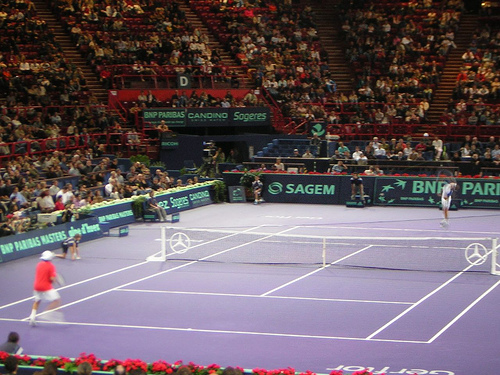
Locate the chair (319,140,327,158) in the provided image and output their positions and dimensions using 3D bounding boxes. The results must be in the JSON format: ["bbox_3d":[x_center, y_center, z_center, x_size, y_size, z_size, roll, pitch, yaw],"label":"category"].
[{"bbox_3d":[4.892,-2.626,34.726,0.598,1.131,0.295,-6,8,5],"label":"chair"}]

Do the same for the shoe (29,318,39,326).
[{"bbox_3d":[-5.739,3.570,13.708,0.203,0.253,0.159,-8,7,-21],"label":"shoe"}]

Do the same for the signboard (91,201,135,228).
[{"bbox_3d":[-6.376,1.298,24.511,1.495,0.865,3.153,8,9,34],"label":"signboard"}]

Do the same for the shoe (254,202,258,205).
[{"bbox_3d":[0.338,0.950,30.750,0.202,0.171,0.485,1,5,-7],"label":"shoe"}]

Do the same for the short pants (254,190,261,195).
[{"bbox_3d":[0.502,0.304,30.846,0.232,0.330,0.599,-3,5,25],"label":"short pants"}]

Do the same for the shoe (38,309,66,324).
[{"bbox_3d":[-5.388,3.533,14.136,0.808,0.253,0.382,-1,-3,17],"label":"shoe"}]

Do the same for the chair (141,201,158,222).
[{"bbox_3d":[-5.101,1.215,25.767,1.133,1.019,0.938,0,2,1],"label":"chair"}]

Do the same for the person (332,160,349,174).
[{"bbox_3d":[5.454,-1.232,31.245,1.048,0.560,1.050,-6,24,13],"label":"person"}]

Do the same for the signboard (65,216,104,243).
[{"bbox_3d":[-7.176,1.846,21.557,0.756,1.009,2.154,12,12,31],"label":"signboard"}]

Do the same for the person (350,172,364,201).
[{"bbox_3d":[6.035,-0.026,29.266,0.737,1.621,0.771,-7,7,0],"label":"person"}]

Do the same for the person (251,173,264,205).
[{"bbox_3d":[0.459,0.097,30.791,0.664,1.800,0.705,-7,8,1],"label":"person"}]

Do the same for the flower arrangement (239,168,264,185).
[{"bbox_3d":[-0.042,-0.612,30.935,1.095,0.736,1.175,14,12,43],"label":"flower arrangement"}]

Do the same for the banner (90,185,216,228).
[{"bbox_3d":[-4.684,0.912,27.125,0.199,1.178,11.444,-2,6,28],"label":"banner"}]

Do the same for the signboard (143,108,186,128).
[{"bbox_3d":[-5.857,-4.924,35.741,3.418,1.067,1.431,0,8,-8],"label":"signboard"}]

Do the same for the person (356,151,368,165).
[{"bbox_3d":[6.878,-1.794,31.841,0.644,0.759,0.889,-4,6,10],"label":"person"}]

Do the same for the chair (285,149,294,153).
[{"bbox_3d":[2.676,-2.508,35.142,0.544,0.259,0.242,2,8,11],"label":"chair"}]

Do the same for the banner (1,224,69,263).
[{"bbox_3d":[-8.223,2.112,19.701,0.199,1.021,2.623,0,6,41],"label":"banner"}]

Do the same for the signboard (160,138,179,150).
[{"bbox_3d":[-5.444,-3.157,34.821,1.781,0.809,0.778,0,8,-5],"label":"signboard"}]

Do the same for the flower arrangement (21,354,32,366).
[{"bbox_3d":[-4.551,3.528,10.536,0.197,0.118,0.298,-5,5,-6],"label":"flower arrangement"}]

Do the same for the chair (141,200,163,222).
[{"bbox_3d":[-5.223,1.161,25.795,1.294,1.216,1.098,1,2,9],"label":"chair"}]

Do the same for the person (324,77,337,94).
[{"bbox_3d":[6.473,-8.095,41.272,1.646,1.251,0.402,20,-41,-24],"label":"person"}]

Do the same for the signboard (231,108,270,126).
[{"bbox_3d":[-0.255,-4.943,37.634,3.306,1.010,1.426,-2,10,-16],"label":"signboard"}]

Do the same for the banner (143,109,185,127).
[{"bbox_3d":[-5.844,-4.881,35.211,3.016,0.949,1.394,0,5,-6],"label":"banner"}]
